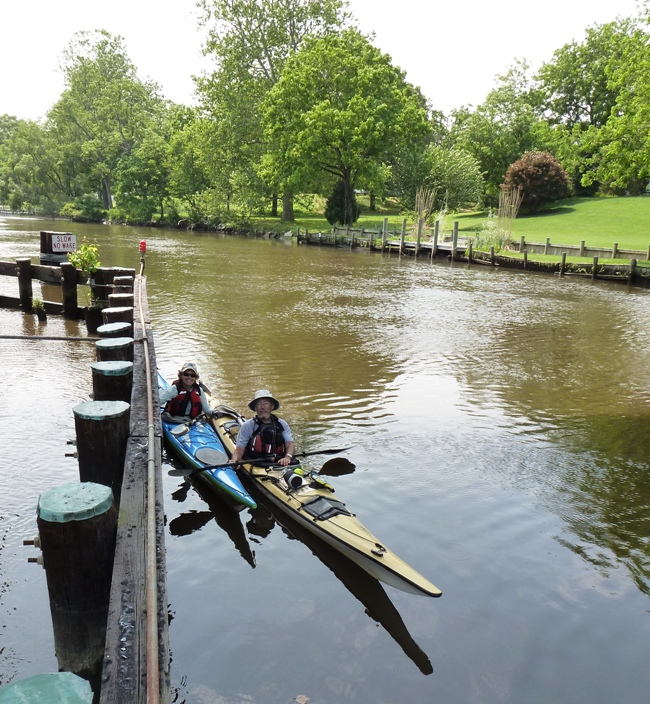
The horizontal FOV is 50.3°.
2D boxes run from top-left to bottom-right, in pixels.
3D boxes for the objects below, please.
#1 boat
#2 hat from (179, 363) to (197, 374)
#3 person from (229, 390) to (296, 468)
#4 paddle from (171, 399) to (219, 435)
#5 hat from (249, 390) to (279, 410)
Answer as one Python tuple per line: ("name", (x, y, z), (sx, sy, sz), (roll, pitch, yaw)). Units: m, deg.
("boat", (-0.345, 1.740, 8.566), (0.845, 0.665, 5.570), (-15, 20, -27))
("hat", (-2.014, 0.250, 10.074), (0.247, 0.178, 0.320), (-3, 8, -16))
("person", (-0.890, 1.091, 9.560), (1.029, 0.970, 0.648), (-4, 21, -20))
("paddle", (-1.937, 0.945, 9.999), (0.455, 0.303, 1.483), (7, 2, -11))
("hat", (-0.814, 0.558, 8.998), (0.432, 0.429, 0.213), (-4, 54, -2))
